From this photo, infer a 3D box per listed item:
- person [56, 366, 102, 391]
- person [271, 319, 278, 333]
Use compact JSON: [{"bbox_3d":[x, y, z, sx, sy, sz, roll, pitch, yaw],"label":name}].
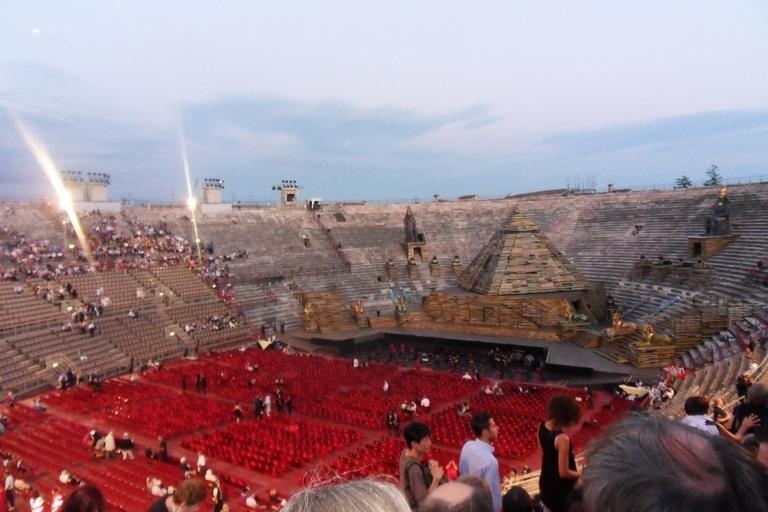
[{"bbox_3d":[-17.082,6.908,25.806,0.429,1.250,1.847,-41,-15,10],"label":"person"},{"bbox_3d":[-9.170,5.691,37.741,0.358,1.188,0.690,1,-16,-6],"label":"person"}]
